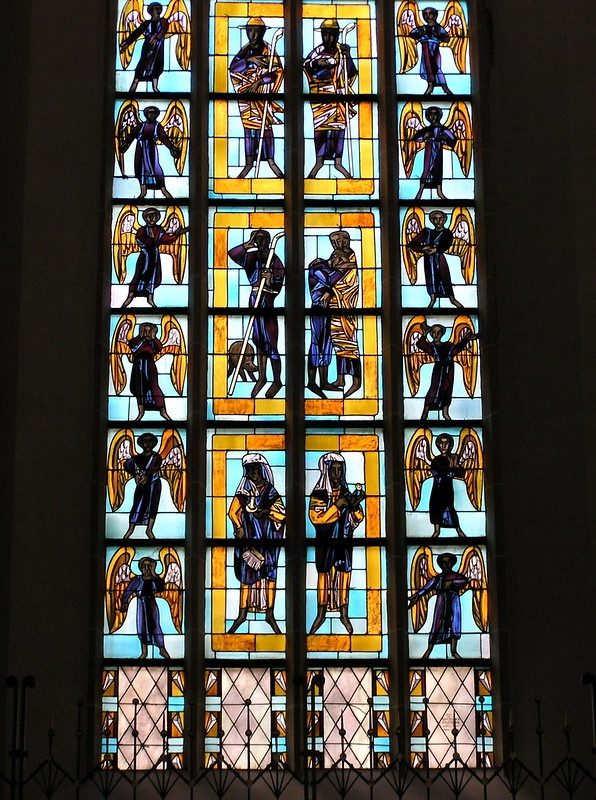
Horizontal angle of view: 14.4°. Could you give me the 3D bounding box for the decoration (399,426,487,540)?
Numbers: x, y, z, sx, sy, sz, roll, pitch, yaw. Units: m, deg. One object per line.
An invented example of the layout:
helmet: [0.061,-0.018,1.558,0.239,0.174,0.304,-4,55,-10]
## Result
decoration: [0.966,0.547,15.817,0.501,0.742,0.239,0,-3,2]
